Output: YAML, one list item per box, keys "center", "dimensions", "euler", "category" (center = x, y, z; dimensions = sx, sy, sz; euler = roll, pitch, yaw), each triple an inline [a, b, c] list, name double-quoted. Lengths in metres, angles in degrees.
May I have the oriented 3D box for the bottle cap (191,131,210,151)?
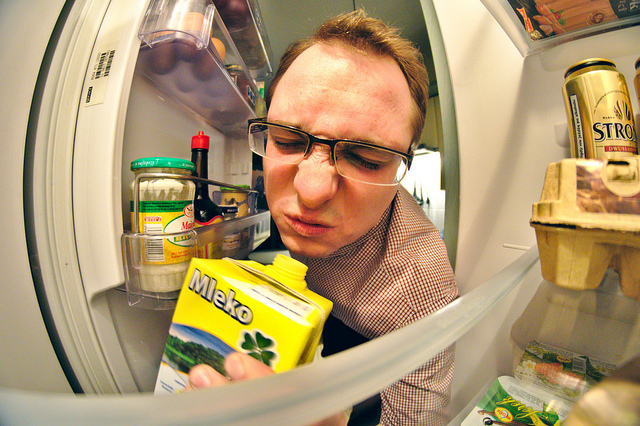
- center: [-0.360, -0.217, 1.293]
  dimensions: [0.054, 0.058, 0.053]
  euler: [4, -3, -1]
  category: "bottle cap"

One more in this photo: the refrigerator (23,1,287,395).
- center: [-0.896, -0.009, 0.602]
  dimensions: [1.019, 2.654, 3.042]
  euler: [3, 0, 5]
  category: "refrigerator"
